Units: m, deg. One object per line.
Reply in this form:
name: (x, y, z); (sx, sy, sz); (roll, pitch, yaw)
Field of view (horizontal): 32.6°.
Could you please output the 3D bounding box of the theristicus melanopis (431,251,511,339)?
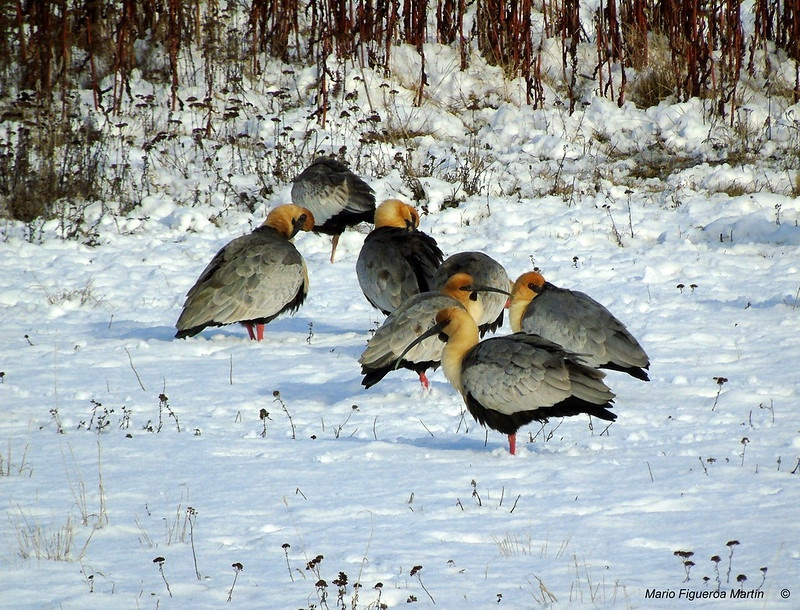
theristicus melanopis: (0.967, -0.336, 22.199); (1.746, 1.096, 0.902); (5, -3, -35)
